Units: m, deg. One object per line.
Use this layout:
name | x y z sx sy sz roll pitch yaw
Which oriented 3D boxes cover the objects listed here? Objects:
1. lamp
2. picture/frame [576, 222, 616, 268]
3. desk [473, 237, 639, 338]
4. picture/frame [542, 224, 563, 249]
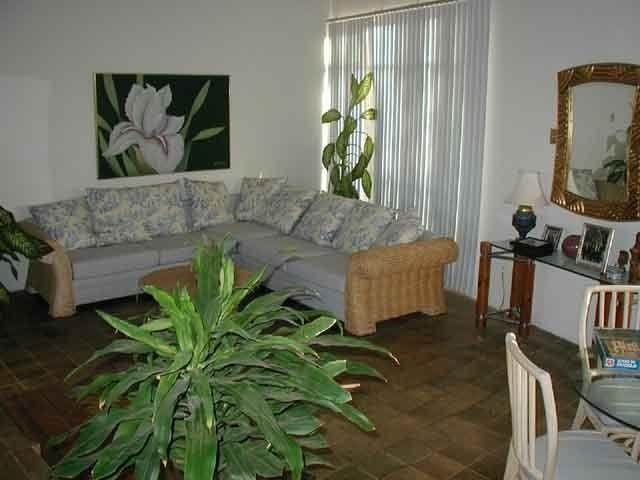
lamp | 2.011 -0.333 4.567 0.428 0.644 0.286 -13 18 -41
picture/frame | 2.310 0.055 4.061 0.240 0.321 0.314 8 16 32
desk | 2.078 0.415 4.193 0.326 0.521 0.797 -6 18 -26
picture/frame | 2.188 -0.030 4.519 0.027 0.241 0.181 13 5 -32
